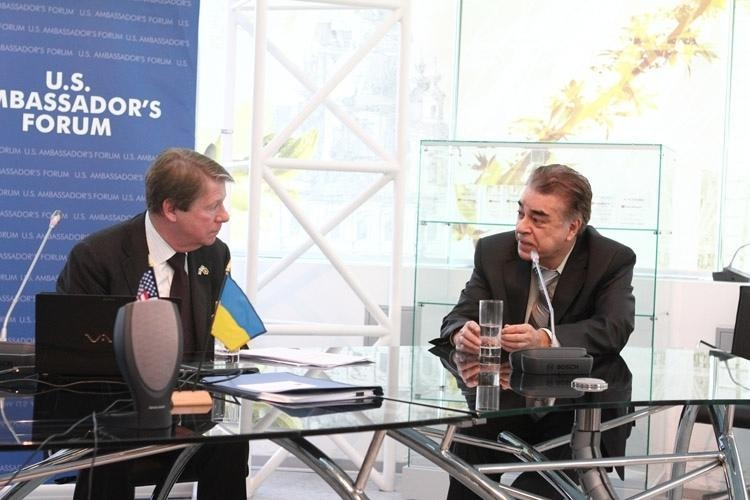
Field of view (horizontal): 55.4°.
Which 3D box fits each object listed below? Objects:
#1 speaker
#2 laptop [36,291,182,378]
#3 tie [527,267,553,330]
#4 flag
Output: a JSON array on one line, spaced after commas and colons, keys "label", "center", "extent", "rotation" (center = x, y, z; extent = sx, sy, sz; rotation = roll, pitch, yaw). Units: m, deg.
[{"label": "speaker", "center": [-0.666, 0.334, 2.125], "extent": [0.195, 0.326, 0.255], "rotation": [-2, 13, -19]}, {"label": "laptop", "center": [-0.974, 0.295, 2.621], "extent": [0.466, 0.295, 0.309], "rotation": [2, 4, -3]}, {"label": "tie", "center": [0.752, 0.227, 3.271], "extent": [0.159, 0.257, 0.065], "rotation": [-3, -8, 33]}, {"label": "flag", "center": [-0.541, 0.263, 2.837], "extent": [0.201, 0.327, 0.173], "rotation": [-1, 13, -13]}]
